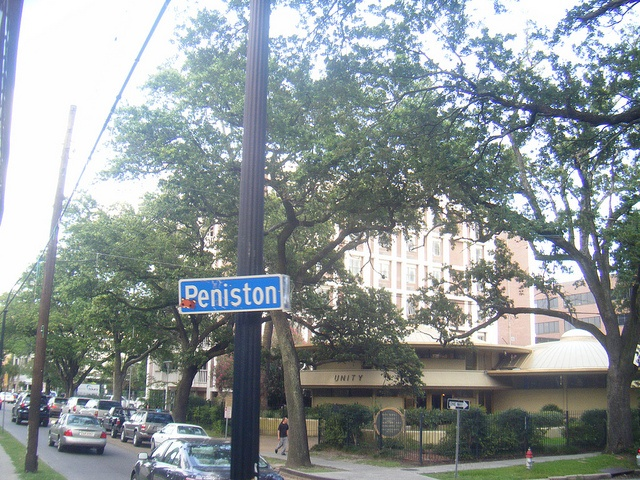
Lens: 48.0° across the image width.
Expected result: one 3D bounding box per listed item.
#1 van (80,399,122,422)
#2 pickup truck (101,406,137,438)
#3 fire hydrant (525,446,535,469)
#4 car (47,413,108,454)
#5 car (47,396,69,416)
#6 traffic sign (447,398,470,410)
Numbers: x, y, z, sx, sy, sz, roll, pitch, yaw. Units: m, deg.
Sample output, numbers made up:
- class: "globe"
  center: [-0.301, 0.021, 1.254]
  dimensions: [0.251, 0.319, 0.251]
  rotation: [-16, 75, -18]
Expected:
- class: "van"
  center: [-14.605, 11.338, 47.797]
  dimensions: [2.139, 2.037, 3.969]
  rotation: [9, -12, -35]
- class: "pickup truck"
  center: [-13.231, 11.856, 47.331]
  dimensions: [1.512, 1.413, 2.925]
  rotation: [6, -13, -25]
- class: "fire hydrant"
  center: [10.063, 10.481, 34.432]
  dimensions: [0.302, 0.938, 1.216]
  rotation: [-3, -14, 15]
- class: "car"
  center: [-12.716, 10.090, 37.417]
  dimensions: [3.420, 2.016, 1.656]
  rotation: [-11, -17, 36]
- class: "car"
  center: [-22.019, 14.053, 60.265]
  dimensions: [1.580, 1.428, 2.782]
  rotation: [4, -11, -18]
- class: "traffic sign"
  center: [6.612, 7.614, 33.281]
  dimensions: [1.112, 0.685, 0.341]
  rotation: [-9, -15, 41]
